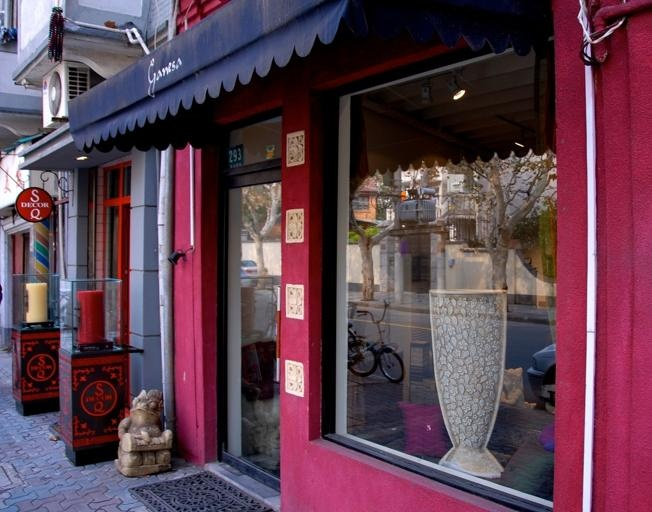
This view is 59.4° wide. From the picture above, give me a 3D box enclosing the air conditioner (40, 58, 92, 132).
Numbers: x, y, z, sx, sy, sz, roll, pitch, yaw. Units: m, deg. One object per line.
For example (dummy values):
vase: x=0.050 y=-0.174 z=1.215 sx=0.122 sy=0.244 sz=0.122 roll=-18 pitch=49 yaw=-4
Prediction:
air conditioner: x=-3.946 y=-2.473 z=8.719 sx=0.439 sy=0.900 sz=1.204 roll=1 pitch=-2 yaw=-38
